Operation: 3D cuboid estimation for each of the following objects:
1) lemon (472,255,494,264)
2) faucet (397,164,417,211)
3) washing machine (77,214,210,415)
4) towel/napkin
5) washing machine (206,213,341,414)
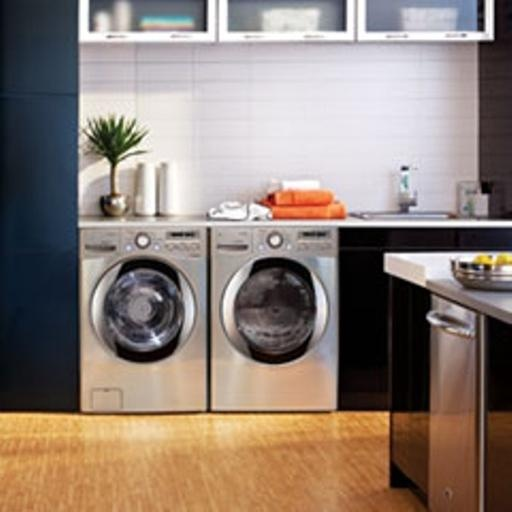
[{"bbox_3d":[0.618,0.011,1.607,0.040,0.023,0.050,1,-1,4],"label":"lemon"},{"bbox_3d":[0.853,-0.383,3.378,0.110,0.257,0.197,2,7,16],"label":"faucet"},{"bbox_3d":[-0.511,0.275,3.007,0.745,1.209,0.760,0,-1,-2],"label":"washing machine"},{"bbox_3d":[0.095,-0.289,3.056,0.667,0.189,0.463,0,7,-6],"label":"towel/napkin"},{"bbox_3d":[0.083,0.291,3.062,0.713,1.133,0.759,0,0,-3],"label":"washing machine"}]
